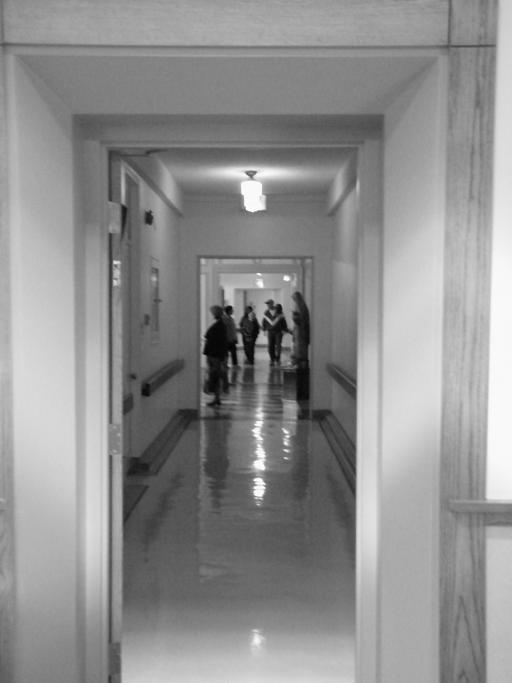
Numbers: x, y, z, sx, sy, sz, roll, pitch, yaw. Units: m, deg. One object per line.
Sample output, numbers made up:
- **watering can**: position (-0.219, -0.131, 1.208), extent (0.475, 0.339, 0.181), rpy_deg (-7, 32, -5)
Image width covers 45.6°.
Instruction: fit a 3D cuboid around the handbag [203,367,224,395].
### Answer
- **handbag**: position (-0.535, 0.505, 7.128), extent (0.344, 0.407, 0.139), rpy_deg (0, -5, -13)
